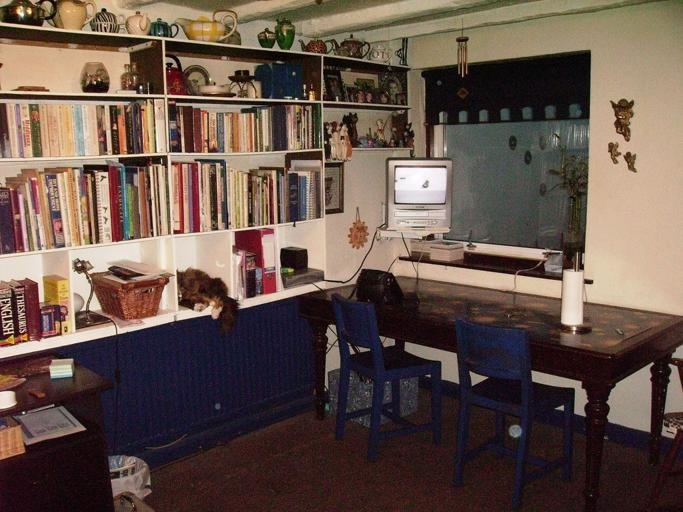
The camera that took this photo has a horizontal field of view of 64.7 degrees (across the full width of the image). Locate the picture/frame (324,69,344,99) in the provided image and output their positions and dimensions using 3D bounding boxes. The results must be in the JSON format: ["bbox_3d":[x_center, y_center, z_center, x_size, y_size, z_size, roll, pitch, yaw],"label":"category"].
[{"bbox_3d":[-0.063,-1.305,4.100,0.035,0.270,0.240,-1,5,38],"label":"picture/frame"}]

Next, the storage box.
[{"bbox_3d":[0.277,1.106,4.371,0.511,0.316,0.511,-2,3,-41],"label":"storage box"}]

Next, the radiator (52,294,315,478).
[{"bbox_3d":[-1.083,0.878,3.596,1.211,0.694,0.053,-9,12,-43],"label":"radiator"}]

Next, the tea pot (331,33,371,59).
[{"bbox_3d":[0.036,-1.675,4.348,0.345,0.230,0.234,12,27,18],"label":"tea pot"}]

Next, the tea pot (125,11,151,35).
[{"bbox_3d":[-1.204,-1.380,3.202,0.122,0.119,0.162,3,22,-21],"label":"tea pot"}]

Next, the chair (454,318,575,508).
[{"bbox_3d":[1.090,0.913,3.437,0.720,1.162,0.592,-11,17,-38],"label":"chair"}]

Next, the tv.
[{"bbox_3d":[0.601,-0.487,4.576,0.738,0.808,0.520,1,2,8],"label":"tv"}]

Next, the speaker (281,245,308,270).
[{"bbox_3d":[-0.360,0.002,4.206,0.162,0.173,0.215,-12,15,-40],"label":"speaker"}]

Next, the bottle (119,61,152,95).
[{"bbox_3d":[-1.260,-1.097,3.315,0.154,0.201,0.289,-10,16,-33],"label":"bottle"}]

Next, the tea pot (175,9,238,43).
[{"bbox_3d":[-0.863,-1.512,3.569,0.392,0.248,0.309,1,22,-5],"label":"tea pot"}]

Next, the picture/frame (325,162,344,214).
[{"bbox_3d":[-0.059,-0.564,4.338,0.032,0.433,0.421,3,5,31],"label":"picture/frame"}]

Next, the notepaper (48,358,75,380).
[{"bbox_3d":[-1.488,0.596,2.873,0.105,0.064,0.104,-2,10,-19],"label":"notepaper"}]

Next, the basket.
[{"bbox_3d":[-1.341,0.218,3.423,0.315,0.221,0.390,-10,10,-44],"label":"basket"}]

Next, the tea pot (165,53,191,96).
[{"bbox_3d":[-1.057,-1.175,3.479,0.131,0.279,0.397,-5,14,-14],"label":"tea pot"}]
